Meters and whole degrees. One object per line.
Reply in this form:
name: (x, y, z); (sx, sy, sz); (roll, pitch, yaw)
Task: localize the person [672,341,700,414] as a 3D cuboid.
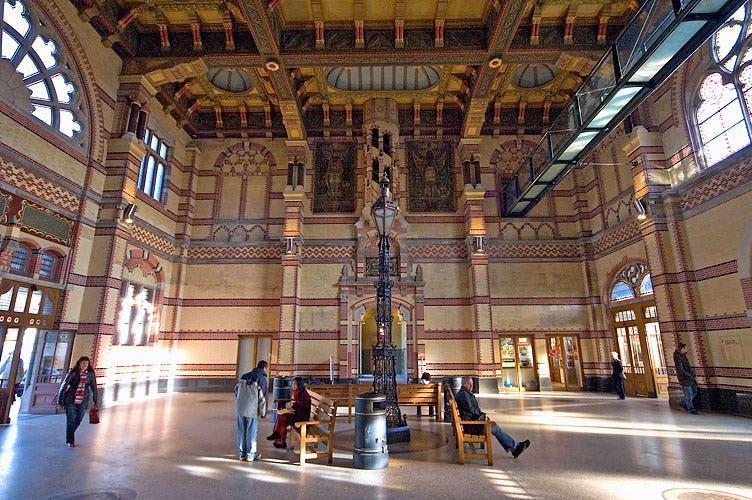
person: (9.862, 4.032, 14.257); (0.582, 2.075, 1.192); (-3, -4, 33)

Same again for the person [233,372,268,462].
person: (-2.805, 3.710, 10.210); (0.639, 1.906, 0.684); (0, -3, -14)

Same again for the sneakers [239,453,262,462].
sneakers: (-2.787, 4.579, 9.932); (0.375, 0.107, 0.201); (-4, -24, 6)

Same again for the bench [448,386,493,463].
bench: (2.209, 4.157, 10.590); (1.012, 1.041, 2.239); (-2, -18, 4)

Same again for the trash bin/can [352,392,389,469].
trash bin/can: (-0.096, 3.888, 9.735); (0.727, 1.477, 0.441); (-1, -3, -2)

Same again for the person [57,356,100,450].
person: (-7.365, 3.685, 11.127); (0.814, 2.055, 1.031); (1, -4, -31)

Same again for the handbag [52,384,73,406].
handbag: (-7.613, 3.513, 10.996); (0.491, 0.496, 0.225); (-2, -3, 21)

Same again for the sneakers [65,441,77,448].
sneakers: (-7.235, 4.618, 10.677); (0.067, 0.147, 0.156); (-4, 15, -3)
